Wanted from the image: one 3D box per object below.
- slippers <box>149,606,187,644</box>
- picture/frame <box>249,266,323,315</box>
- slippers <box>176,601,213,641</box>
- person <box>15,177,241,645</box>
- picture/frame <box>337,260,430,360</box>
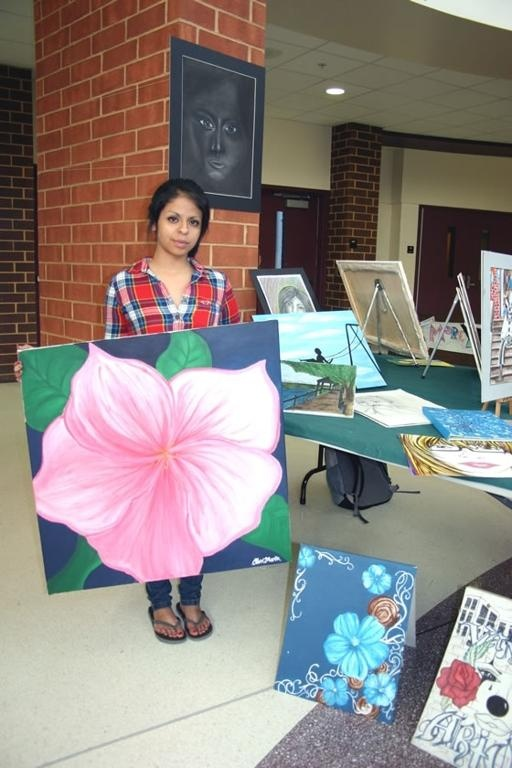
[{"bbox_3d":[-0.258,0.716,1.656,0.057,0.045,0.144,-2,6,-25],"label":"slippers"},{"bbox_3d":[0.119,-0.410,2.401,0.142,0.206,0.365,6,8,43],"label":"picture/frame"},{"bbox_3d":[-0.175,0.713,1.683,0.059,0.043,0.129,-3,11,-25],"label":"slippers"},{"bbox_3d":[-0.236,0.085,1.684,0.420,1.352,0.236,-1,6,-18],"label":"person"},{"bbox_3d":[0.568,-0.340,2.443,0.255,0.430,0.462,-1,6,-18],"label":"picture/frame"}]
